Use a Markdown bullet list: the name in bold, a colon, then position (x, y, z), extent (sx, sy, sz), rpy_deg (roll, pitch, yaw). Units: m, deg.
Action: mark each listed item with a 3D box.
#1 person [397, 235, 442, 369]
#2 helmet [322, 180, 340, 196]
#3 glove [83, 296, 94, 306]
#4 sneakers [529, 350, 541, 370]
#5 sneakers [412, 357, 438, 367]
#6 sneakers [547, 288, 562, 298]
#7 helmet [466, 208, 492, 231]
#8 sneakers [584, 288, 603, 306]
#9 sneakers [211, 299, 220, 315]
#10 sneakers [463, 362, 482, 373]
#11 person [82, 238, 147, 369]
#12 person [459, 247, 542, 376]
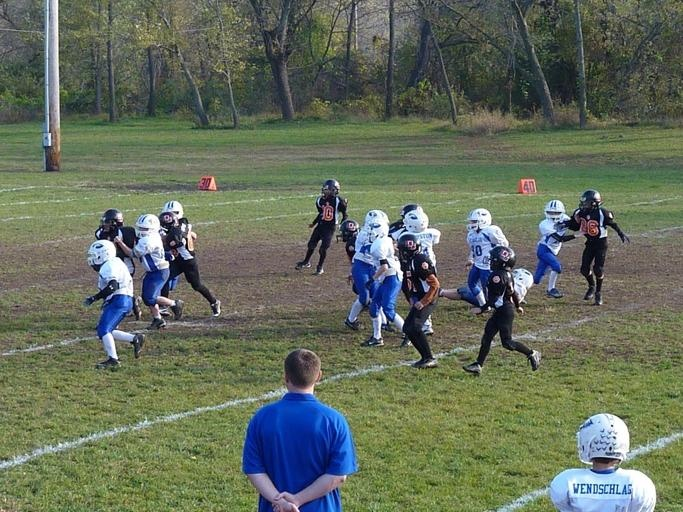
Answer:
- **person**: position (1.456, 0.854, 21.049), extent (0.732, 2.572, 0.626), rpy_deg (4, 10, 43)
- **helmet**: position (-0.266, -1.647, 26.187), extent (0.324, 0.385, 0.402), rpy_deg (-1, -14, 26)
- **glove**: position (-5.021, 0.896, 21.840), extent (0.165, 0.130, 0.364), rpy_deg (-19, -12, -30)
- **sneakers**: position (3.672, 1.970, 20.929), extent (0.215, 0.476, 0.160), rpy_deg (-8, 1, -6)
- **sneakers**: position (1.609, 2.031, 21.072), extent (0.452, 0.209, 0.176), rpy_deg (-3, 10, -1)
- **sneakers**: position (4.708, 0.804, 24.304), extent (0.286, 0.136, 0.176), rpy_deg (7, 12, 40)
- **helmet**: position (2.912, -0.793, 23.112), extent (0.538, 0.423, 0.417), rpy_deg (2, 1, 1)
- **sneakers**: position (5.514, 0.858, 24.015), extent (0.271, 0.188, 0.456), rpy_deg (1, 9, 19)
- **sneakers**: position (-2.684, 1.082, 23.393), extent (0.127, 0.159, 0.356), rpy_deg (1, 46, 4)
- **sneakers**: position (2.511, 2.119, 20.868), extent (0.387, 0.144, 0.196), rpy_deg (6, 41, 36)
- **person**: position (-4.429, 0.893, 21.303), extent (0.951, 2.408, 0.777), rpy_deg (-5, 7, -13)
- **person**: position (3.009, 1.004, 20.843), extent (1.353, 2.403, 0.960), rpy_deg (-8, 8, -33)
